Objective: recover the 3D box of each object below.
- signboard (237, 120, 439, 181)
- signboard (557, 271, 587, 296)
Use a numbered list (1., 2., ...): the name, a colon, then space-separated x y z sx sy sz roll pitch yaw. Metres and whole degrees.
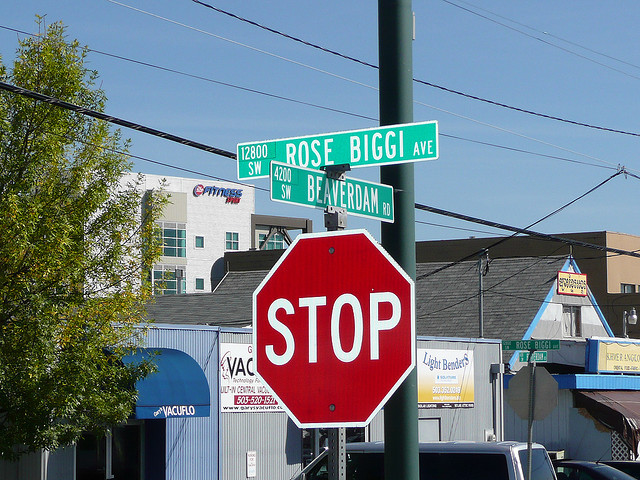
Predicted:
1. signboard: 0.340 -1.473 25.915 2.132 0.538 0.036 -4 -19 -1
2. signboard: 10.028 1.727 59.682 0.228 1.047 2.586 -7 -13 38
